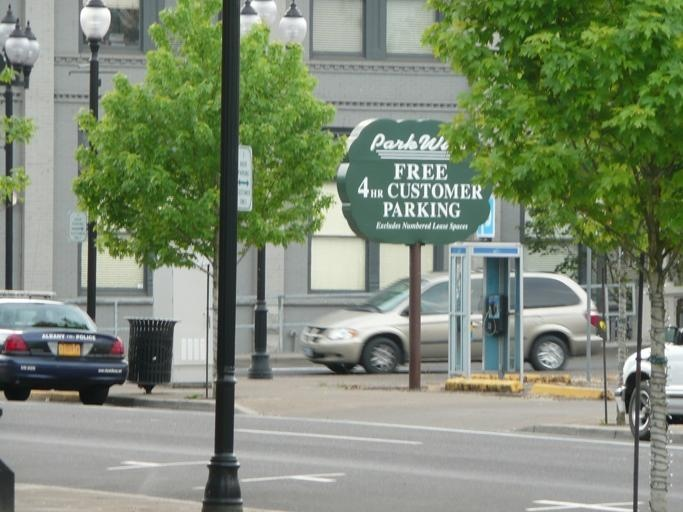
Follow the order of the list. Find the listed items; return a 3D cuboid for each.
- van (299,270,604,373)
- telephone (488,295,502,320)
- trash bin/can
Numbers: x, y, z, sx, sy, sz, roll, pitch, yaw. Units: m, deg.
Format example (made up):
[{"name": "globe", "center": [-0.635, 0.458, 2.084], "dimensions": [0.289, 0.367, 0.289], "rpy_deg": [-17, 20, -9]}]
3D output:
[{"name": "van", "center": [2.091, 1.513, 35.715], "dimensions": [5.664, 2.151, 2.593], "rpy_deg": [2, -3, -13]}, {"name": "telephone", "center": [2.949, 1.021, 33.356], "dimensions": [0.264, 0.468, 0.149], "rpy_deg": [0, -3, 10]}, {"name": "trash bin/can", "center": [-3.387, 1.821, 31.151], "dimensions": [1.060, 1.547, 1.136], "rpy_deg": [1, -4, -10]}]
